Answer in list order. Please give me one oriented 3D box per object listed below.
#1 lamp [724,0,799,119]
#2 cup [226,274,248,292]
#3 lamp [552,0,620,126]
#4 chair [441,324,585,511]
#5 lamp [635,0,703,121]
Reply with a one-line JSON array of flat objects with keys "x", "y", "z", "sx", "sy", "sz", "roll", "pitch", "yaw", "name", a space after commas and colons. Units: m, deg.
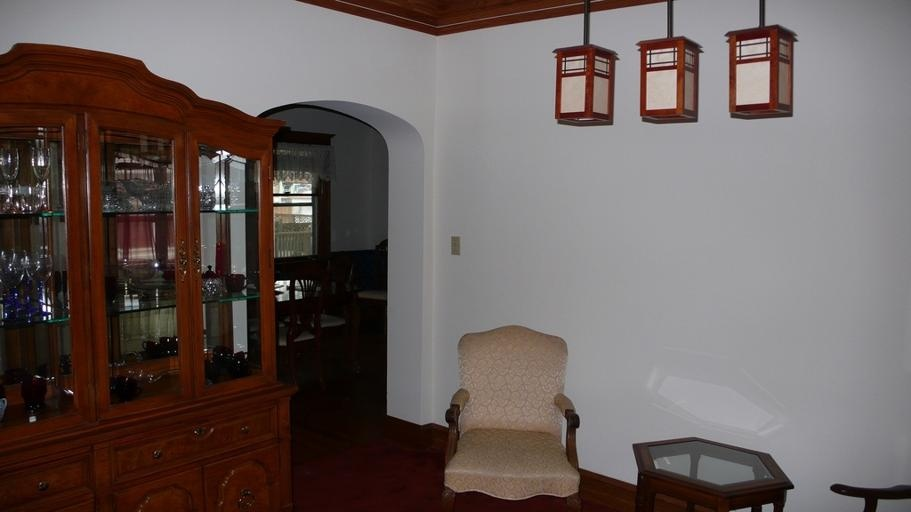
[{"x": 1.780, "y": -1.069, "z": 3.722, "sx": 0.380, "sy": 0.471, "sz": 0.166, "roll": -1, "pitch": 5, "yaw": 5, "name": "lamp"}, {"x": -1.448, "y": 0.173, "z": 4.300, "sx": 0.124, "sy": 0.081, "sz": 0.102, "roll": 3, "pitch": -6, "yaw": -35, "name": "cup"}, {"x": 0.854, "y": -1.278, "z": 4.218, "sx": 0.367, "sy": 0.848, "sz": 0.644, "roll": 0, "pitch": 5, "yaw": 12, "name": "lamp"}, {"x": 0.403, "y": 1.087, "z": 4.820, "sx": 1.110, "sy": 1.399, "sz": 1.173, "roll": 0, "pitch": -4, "yaw": 5, "name": "chair"}, {"x": 1.296, "y": -1.061, "z": 3.865, "sx": 0.372, "sy": 0.458, "sz": 0.191, "roll": -1, "pitch": 5, "yaw": 0, "name": "lamp"}]
